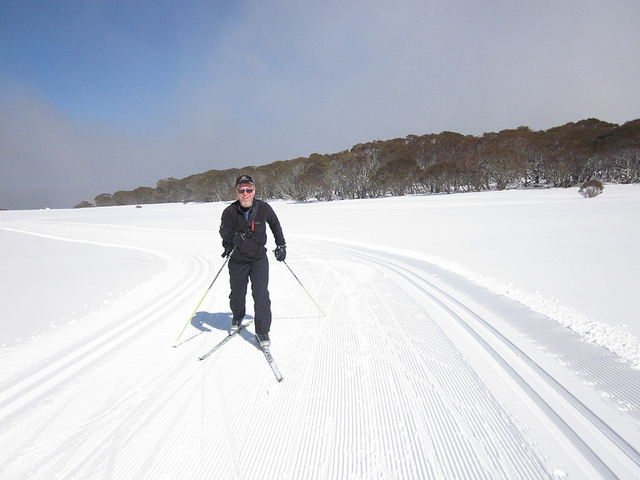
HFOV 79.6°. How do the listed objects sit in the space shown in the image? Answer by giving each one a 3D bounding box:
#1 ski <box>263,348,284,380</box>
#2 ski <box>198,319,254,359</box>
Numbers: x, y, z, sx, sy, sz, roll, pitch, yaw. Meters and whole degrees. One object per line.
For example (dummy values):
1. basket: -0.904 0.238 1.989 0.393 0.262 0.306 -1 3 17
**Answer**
1. ski: -0.621 1.595 4.905 0.095 0.120 0.772 21 14 -29
2. ski: -1.252 1.391 5.707 0.157 0.236 1.460 -10 10 22
